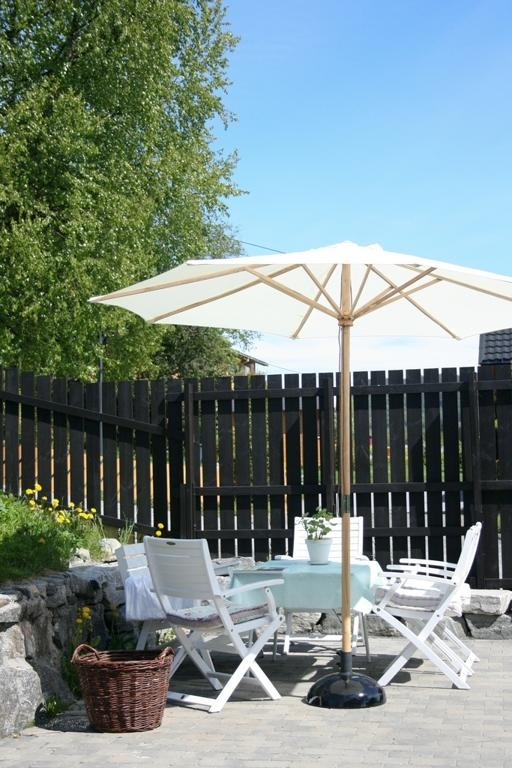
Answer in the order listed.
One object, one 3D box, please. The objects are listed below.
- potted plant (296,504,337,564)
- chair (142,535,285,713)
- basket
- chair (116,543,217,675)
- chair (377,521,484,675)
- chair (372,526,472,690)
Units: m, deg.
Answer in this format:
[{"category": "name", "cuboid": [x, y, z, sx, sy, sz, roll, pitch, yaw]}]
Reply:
[{"category": "potted plant", "cuboid": [0.438, 1.101, 7.416, 0.315, 0.405, 0.299, -2, -9, -23]}, {"category": "chair", "cuboid": [-0.273, 1.555, 6.853, 0.842, 1.047, 0.859, 0, -5, -5]}, {"category": "basket", "cuboid": [-0.802, 1.847, 6.310, 0.517, 0.420, 0.558, 0, -15, -5]}, {"category": "chair", "cuboid": [-0.534, 1.526, 7.349, 0.520, 0.714, 0.539, -1, -19, 2]}, {"category": "chair", "cuboid": [1.210, 1.550, 7.349, 0.780, 1.050, 0.892, -1, 0, 5]}, {"category": "chair", "cuboid": [1.258, 1.597, 7.552, 1.000, 1.422, 1.084, 0, -6, 11]}]
